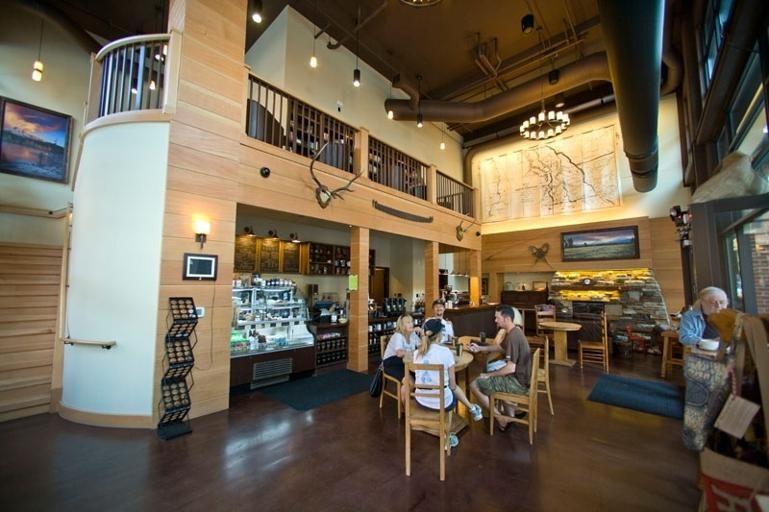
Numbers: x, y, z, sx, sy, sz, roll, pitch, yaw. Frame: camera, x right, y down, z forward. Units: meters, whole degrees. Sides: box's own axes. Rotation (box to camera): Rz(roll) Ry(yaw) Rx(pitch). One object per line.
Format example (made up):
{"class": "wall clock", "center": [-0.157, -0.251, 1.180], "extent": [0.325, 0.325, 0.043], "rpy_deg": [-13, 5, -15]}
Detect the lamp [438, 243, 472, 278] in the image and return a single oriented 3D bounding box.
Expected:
{"class": "lamp", "center": [2.224, 0.172, 15.543], "extent": [0.970, 0.831, 3.912], "rpy_deg": [-3, -5, 8]}

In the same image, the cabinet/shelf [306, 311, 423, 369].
{"class": "cabinet/shelf", "center": [-0.170, 1.913, 11.782], "extent": [3.559, 1.036, 0.587], "rpy_deg": [-4, 3, -37]}

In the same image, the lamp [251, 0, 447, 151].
{"class": "lamp", "center": [-1.342, -4.531, 13.151], "extent": [4.665, 2.376, 1.889], "rpy_deg": [2, -6, -39]}

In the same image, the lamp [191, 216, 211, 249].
{"class": "lamp", "center": [-3.279, -0.422, 8.760], "extent": [0.267, 0.556, 0.103], "rpy_deg": [0, -5, -23]}

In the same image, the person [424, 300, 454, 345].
{"class": "person", "center": [1.079, 1.309, 9.563], "extent": [0.717, 1.152, 0.416], "rpy_deg": [-3, -11, 5]}

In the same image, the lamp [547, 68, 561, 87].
{"class": "lamp", "center": [4.201, -4.420, 12.067], "extent": [0.326, 0.359, 0.167], "rpy_deg": [-4, -5, 23]}

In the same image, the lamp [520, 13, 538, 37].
{"class": "lamp", "center": [3.384, -5.516, 11.478], "extent": [0.380, 0.461, 0.443], "rpy_deg": [6, -6, 1]}

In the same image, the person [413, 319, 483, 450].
{"class": "person", "center": [0.900, 2.067, 7.925], "extent": [0.762, 2.062, 1.195], "rpy_deg": [-4, -5, 24]}

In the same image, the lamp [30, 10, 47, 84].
{"class": "lamp", "center": [-7.392, -4.438, 10.455], "extent": [0.223, 1.583, 0.668], "rpy_deg": [1, -6, -35]}

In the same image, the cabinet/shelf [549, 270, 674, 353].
{"class": "cabinet/shelf", "center": [6.084, 1.504, 12.793], "extent": [1.918, 1.644, 0.645], "rpy_deg": [-6, -21, 36]}

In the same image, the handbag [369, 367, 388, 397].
{"class": "handbag", "center": [-0.105, 2.365, 9.072], "extent": [0.270, 0.595, 0.620], "rpy_deg": [12, -9, 11]}

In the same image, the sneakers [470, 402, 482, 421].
{"class": "sneakers", "center": [1.579, 2.669, 8.380], "extent": [0.159, 0.176, 0.411], "rpy_deg": [1, 4, 8]}

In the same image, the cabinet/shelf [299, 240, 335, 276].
{"class": "cabinet/shelf", "center": [-1.619, 0.087, 11.983], "extent": [0.278, 0.800, 0.919], "rpy_deg": [4, 1, 39]}

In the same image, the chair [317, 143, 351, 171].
{"class": "chair", "center": [-1.034, -2.211, 10.808], "extent": [0.773, 0.761, 0.588], "rpy_deg": [5, 5, 42]}
